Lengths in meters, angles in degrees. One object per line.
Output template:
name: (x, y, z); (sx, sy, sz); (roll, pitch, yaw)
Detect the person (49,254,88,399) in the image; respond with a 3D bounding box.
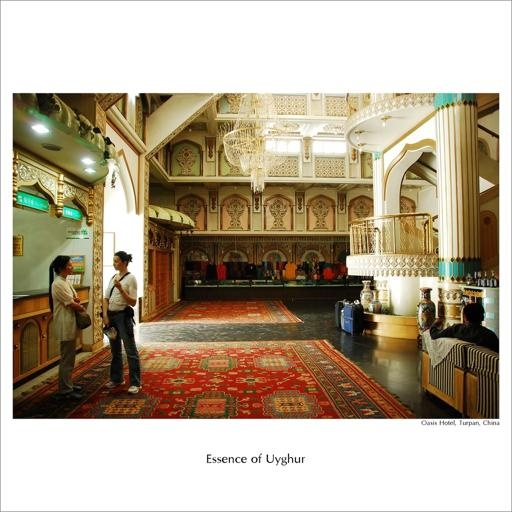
person: (-2.035, 0.761, 4.322); (0.354, 1.529, 0.495); (1, -2, -37)

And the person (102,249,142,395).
person: (-1.507, 0.740, 4.463); (0.399, 1.581, 0.456); (0, -1, -22)

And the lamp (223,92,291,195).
lamp: (-0.042, -3.641, 11.050); (1.250, 3.401, 1.338); (-4, 6, 2)

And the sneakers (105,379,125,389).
sneakers: (-1.625, 1.499, 4.551); (0.181, 0.093, 0.081); (13, -15, -27)

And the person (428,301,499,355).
person: (2.103, 0.712, 3.970); (0.392, 0.453, 0.796); (0, -1, -17)
